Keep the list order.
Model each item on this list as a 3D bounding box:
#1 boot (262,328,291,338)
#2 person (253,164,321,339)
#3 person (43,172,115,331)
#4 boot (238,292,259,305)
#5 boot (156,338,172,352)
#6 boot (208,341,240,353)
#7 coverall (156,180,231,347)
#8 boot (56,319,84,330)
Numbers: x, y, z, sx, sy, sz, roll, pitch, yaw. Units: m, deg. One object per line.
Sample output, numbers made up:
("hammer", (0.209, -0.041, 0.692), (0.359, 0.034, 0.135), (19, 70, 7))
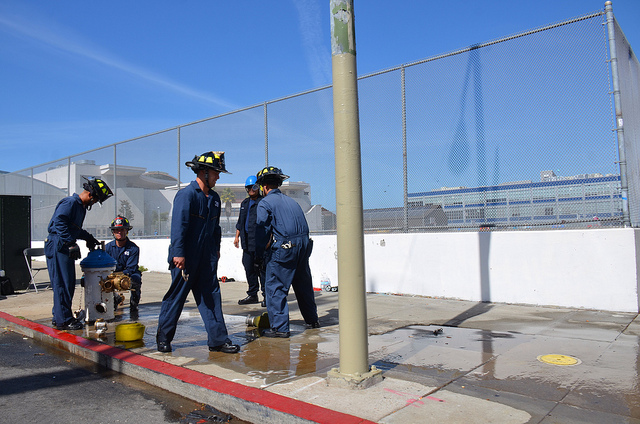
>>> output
("boot", (-0.737, 2.023, 9.133), (0.445, 0.194, 0.169), (5, -4, 9))
("person", (-0.662, 0.742, 9.202), (0.768, 2.782, 0.966), (4, 12, 35))
("person", (-4.519, 0.742, 10.042), (1.136, 2.620, 0.831), (-10, 12, -38))
("boot", (-1.545, 1.942, 11.990), (0.508, 0.208, 0.167), (8, -15, -30))
("boot", (-2.434, 2.090, 8.526), (0.212, 0.177, 0.166), (-5, 10, -18))
("boot", (-1.488, 2.115, 8.570), (0.505, 0.209, 0.172), (-5, -11, 10))
("coverall", (-1.997, 0.835, 8.474), (1.094, 2.613, 0.649), (-6, 10, -19))
("boot", (-4.512, 2.027, 9.817), (0.399, 0.166, 0.185), (-1, -2, -10))
